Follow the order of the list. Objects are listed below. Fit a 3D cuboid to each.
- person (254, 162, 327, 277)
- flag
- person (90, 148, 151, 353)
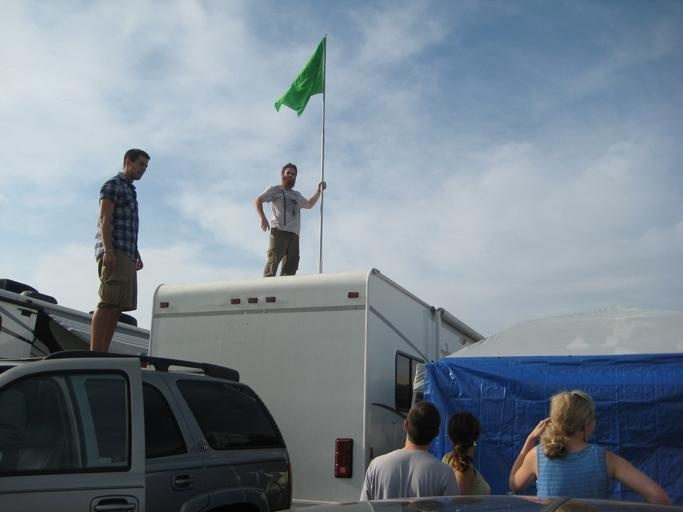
[{"bbox_3d":[-0.686,-0.464,9.910,1.013,1.571,0.363,9,-17,-43],"label":"person"},{"bbox_3d":[-0.593,-2.839,12.191,0.765,0.134,1.936,-9,-21,-16],"label":"flag"},{"bbox_3d":[-2.039,-0.132,7.076,0.485,1.956,1.304,1,-13,-18],"label":"person"}]
